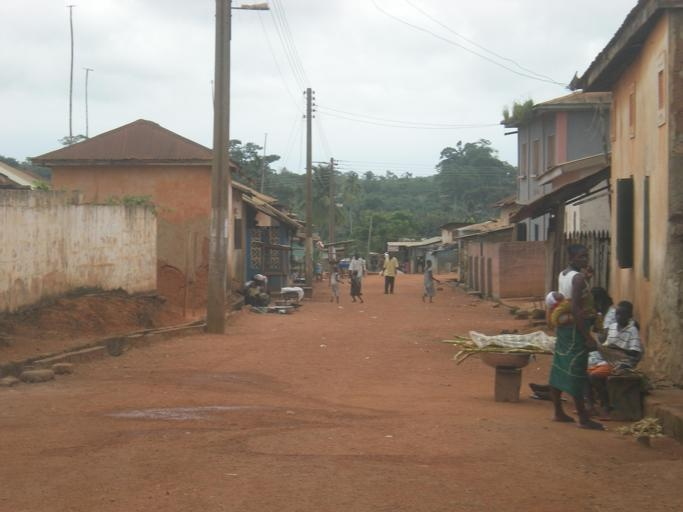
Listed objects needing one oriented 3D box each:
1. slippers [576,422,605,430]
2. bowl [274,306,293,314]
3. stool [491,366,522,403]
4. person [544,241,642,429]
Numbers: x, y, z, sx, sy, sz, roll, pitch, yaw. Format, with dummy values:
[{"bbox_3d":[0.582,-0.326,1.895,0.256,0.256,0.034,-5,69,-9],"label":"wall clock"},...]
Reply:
[{"bbox_3d":[3.163,2.154,13.031,0.331,0.090,0.202,3,7,12],"label":"slippers"},{"bbox_3d":[-1.478,1.424,26.696,0.458,0.141,0.677,1,7,-5],"label":"bowl"},{"bbox_3d":[2.302,1.802,14.316,0.438,0.574,0.435,4,-3,9],"label":"stool"},{"bbox_3d":[3.036,1.007,13.316,0.642,2.279,1.041,1,8,-2],"label":"person"}]
